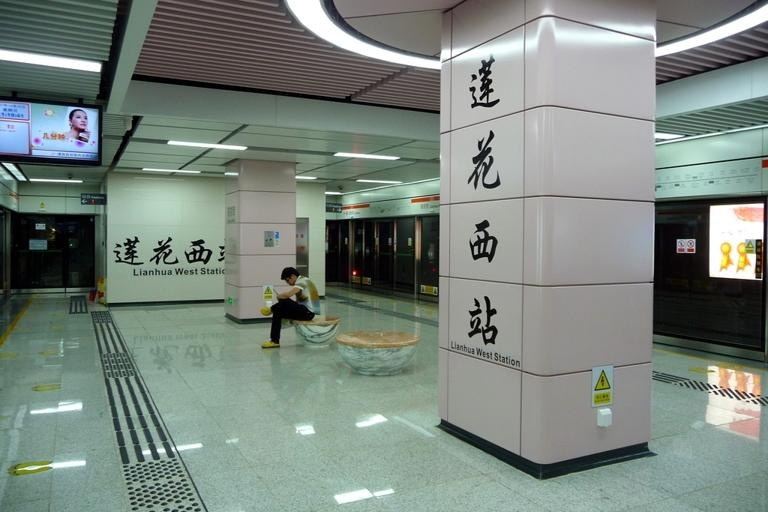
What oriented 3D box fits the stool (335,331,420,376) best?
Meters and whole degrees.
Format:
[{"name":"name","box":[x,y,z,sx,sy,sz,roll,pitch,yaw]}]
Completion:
[{"name":"stool","box":[-0.028,1.399,7.455,0.776,0.285,0.761,2,-2,-42]}]

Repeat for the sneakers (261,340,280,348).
[{"name":"sneakers","box":[-2.035,1.569,9.150,0.266,0.107,0.127,6,-7,-30]}]
